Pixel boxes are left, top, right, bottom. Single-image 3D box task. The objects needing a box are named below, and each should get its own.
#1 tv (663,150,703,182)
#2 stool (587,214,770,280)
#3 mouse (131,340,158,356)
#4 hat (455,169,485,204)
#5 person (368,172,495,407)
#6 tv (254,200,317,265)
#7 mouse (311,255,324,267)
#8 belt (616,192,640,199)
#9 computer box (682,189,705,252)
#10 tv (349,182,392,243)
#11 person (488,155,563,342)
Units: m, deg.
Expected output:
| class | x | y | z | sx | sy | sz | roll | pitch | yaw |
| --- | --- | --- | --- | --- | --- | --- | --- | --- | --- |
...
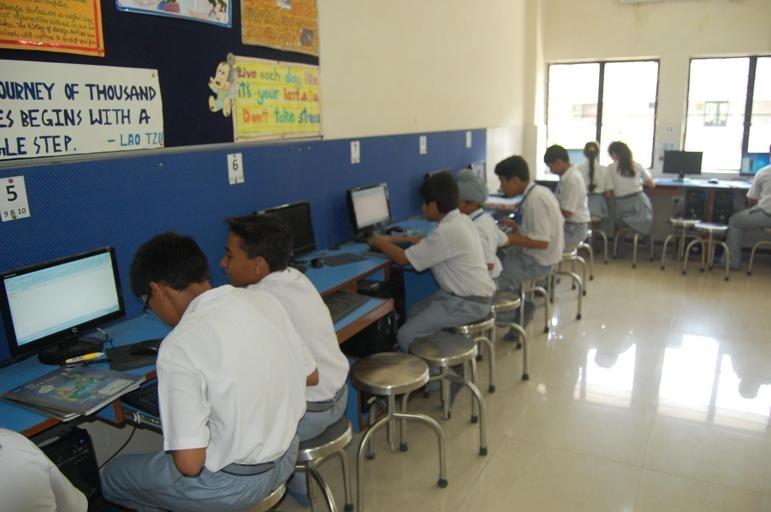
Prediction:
| class | x | y | z | sx | sy | sz | roll | pitch | yaw |
| --- | --- | --- | --- | --- | --- | --- | --- | --- | --- |
| tv | 4.162 | -1.275 | 7.825 | 0.455 | 0.410 | 0.117 | 6 | 16 | 28 |
| stool | 4.072 | -0.222 | 7.152 | 1.319 | 0.610 | 0.916 | 2 | 9 | 38 |
| mouse | -1.247 | 0.472 | 2.917 | 0.100 | 0.027 | 0.102 | 2 | 19 | 0 |
| hat | 0.779 | -0.663 | 5.082 | 0.347 | 0.182 | 0.493 | -6 | 1 | 9 |
| person | 0.332 | 0.200 | 4.242 | 1.011 | 1.609 | 0.700 | 9 | 17 | 25 |
| tv | -0.613 | -0.159 | 3.432 | 0.092 | 0.315 | 0.418 | 2 | 15 | 25 |
| mouse | -0.490 | 0.033 | 4.069 | 0.077 | 0.054 | 0.060 | -5 | 16 | 5 |
| belt | 3.165 | -0.798 | 7.298 | 0.265 | 0.091 | 0.065 | -1 | 14 | 7 |
| computer box | 4.264 | -0.573 | 7.735 | 0.325 | 0.657 | 0.367 | 0 | 10 | 11 |
| tv | -0.143 | -0.400 | 4.858 | 0.153 | 0.426 | 0.563 | 1 | 12 | 31 |
| person | 1.227 | -0.105 | 5.243 | 0.773 | 1.611 | 0.691 | 11 | 21 | 23 |
